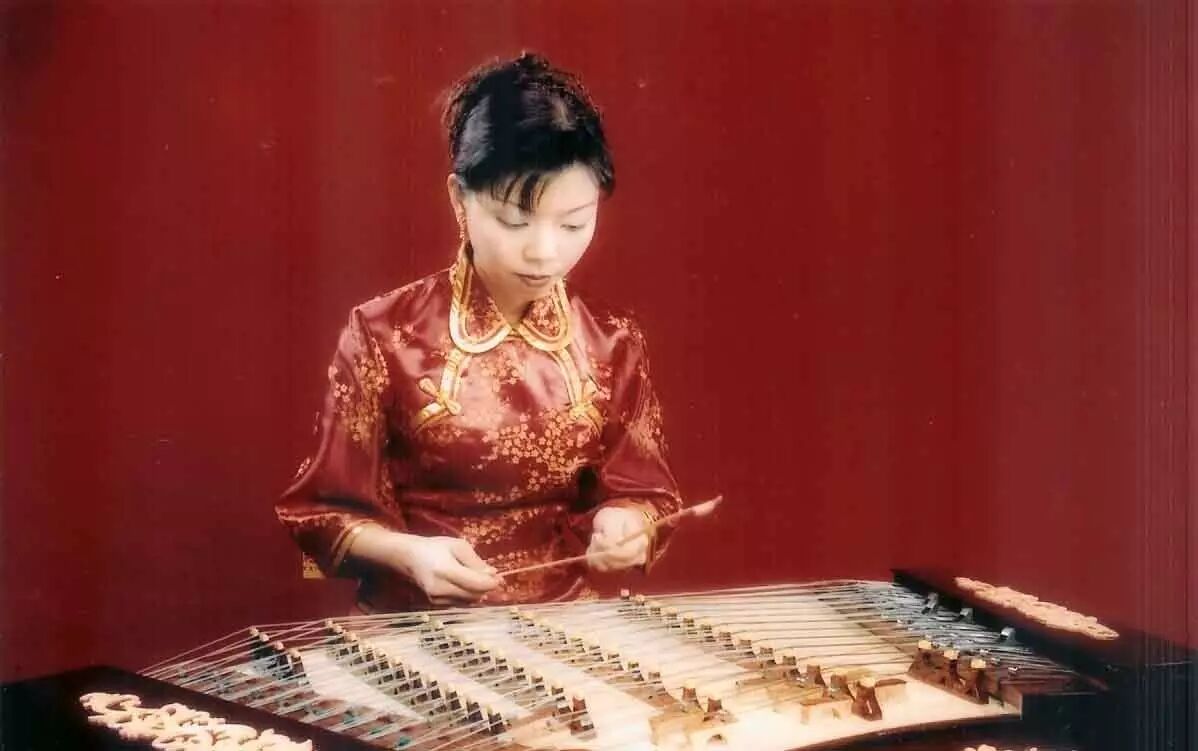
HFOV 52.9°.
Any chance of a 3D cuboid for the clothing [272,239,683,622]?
[{"bbox_3d":[-0.291,0.136,3.436,1.078,1.106,0.632,1,21,-12],"label":"clothing"}]
